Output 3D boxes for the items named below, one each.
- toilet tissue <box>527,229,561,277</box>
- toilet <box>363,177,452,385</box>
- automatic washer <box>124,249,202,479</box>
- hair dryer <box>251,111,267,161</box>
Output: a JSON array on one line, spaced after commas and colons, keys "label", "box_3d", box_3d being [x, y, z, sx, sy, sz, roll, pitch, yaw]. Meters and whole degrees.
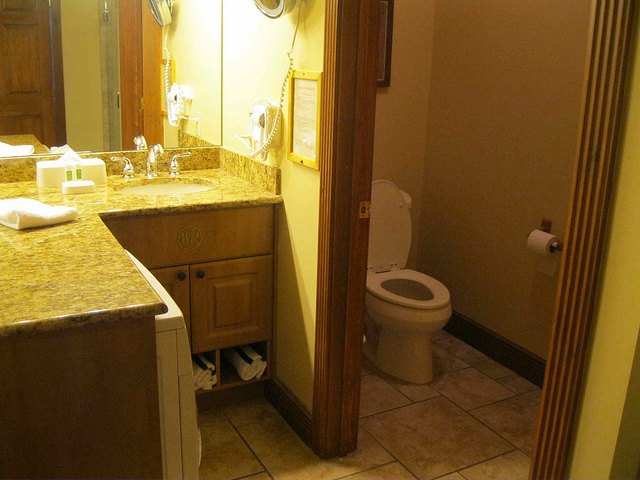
[{"label": "toilet tissue", "box_3d": [1.163, 0.066, 2.747, 0.135, 0.245, 0.093, 1, 17, -3]}, {"label": "toilet", "box_3d": [0.476, 0.207, 2.969, 0.392, 1.006, 0.608, -6, 19, -26]}, {"label": "automatic washer", "box_3d": [-0.427, 0.384, 1.452, 0.169, 0.445, 0.195, -2, 18, -17]}, {"label": "hair dryer", "box_3d": [-0.284, -0.487, 2.494, 0.084, 0.247, 0.071, 7, 21, 21]}]
